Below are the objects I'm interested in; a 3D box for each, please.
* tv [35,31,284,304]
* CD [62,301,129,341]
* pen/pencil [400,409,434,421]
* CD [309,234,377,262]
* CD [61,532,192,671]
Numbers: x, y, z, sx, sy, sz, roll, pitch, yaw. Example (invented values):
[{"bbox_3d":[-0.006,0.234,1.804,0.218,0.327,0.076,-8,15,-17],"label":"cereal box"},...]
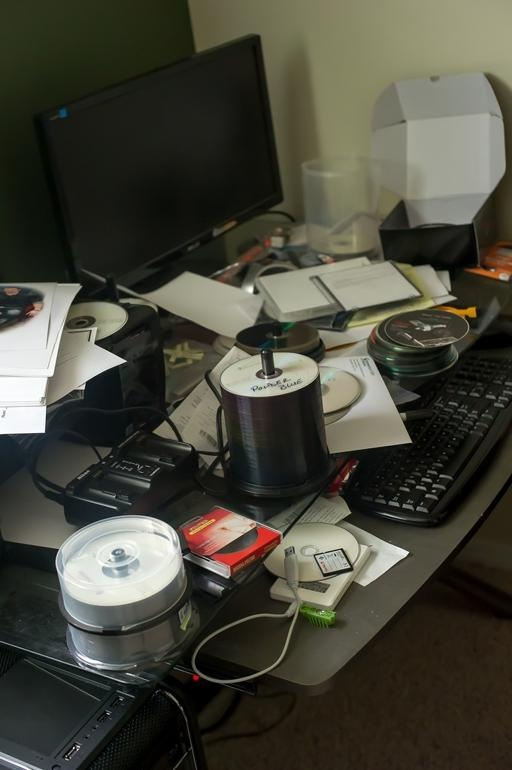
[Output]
[{"bbox_3d":[-0.176,-0.383,1.055,0.156,0.375,0.545,21,51,29],"label":"tv"},{"bbox_3d":[-0.199,-0.078,0.741,0.070,0.027,0.065,3,28,2],"label":"CD"},{"bbox_3d":[0.214,0.039,0.792,0.026,0.007,0.007,-16,-8,-20],"label":"pen/pencil"},{"bbox_3d":[0.188,-0.307,1.264,0.096,0.023,0.082,-6,35,-15],"label":"CD"},{"bbox_3d":[-0.092,0.154,0.421,0.093,0.060,0.081,23,33,35],"label":"CD"}]
